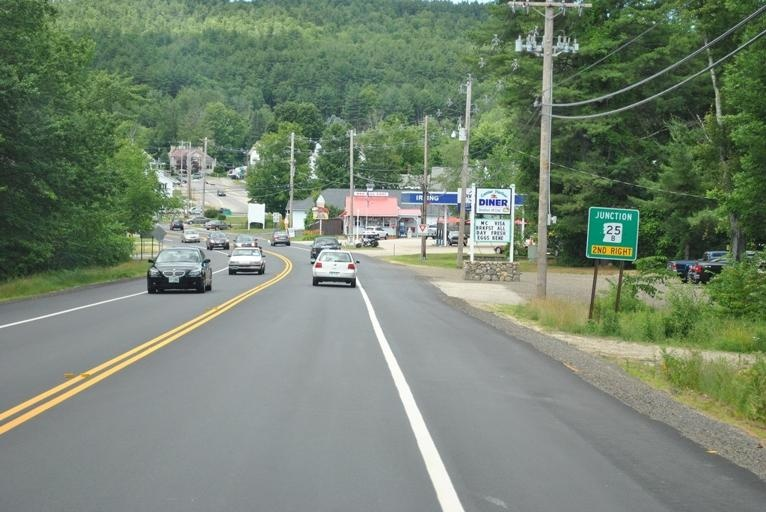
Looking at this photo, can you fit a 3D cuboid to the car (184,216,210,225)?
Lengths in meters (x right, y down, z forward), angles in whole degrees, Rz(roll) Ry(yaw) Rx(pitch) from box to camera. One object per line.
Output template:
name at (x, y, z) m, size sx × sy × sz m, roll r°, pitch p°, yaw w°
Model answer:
car at (-31.552, -6.061, 127.593) m, size 2.842 × 1.547 × 6.458 m, roll 1°, pitch 0°, yaw -44°

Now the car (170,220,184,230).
car at (-31.106, -4.486, 114.992) m, size 0.949 × 1.325 × 2.747 m, roll 8°, pitch 2°, yaw 23°

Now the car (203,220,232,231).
car at (-26.685, -4.868, 121.574) m, size 1.798 × 1.059 × 3.428 m, roll 2°, pitch 7°, yaw 20°

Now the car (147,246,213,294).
car at (-8.354, 0.593, 30.901) m, size 2.472 × 1.889 × 2.578 m, roll 1°, pitch 0°, yaw -18°

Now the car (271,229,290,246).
car at (-11.726, -1.984, 86.129) m, size 1.578 × 1.593 × 2.503 m, roll 1°, pitch 0°, yaw -37°

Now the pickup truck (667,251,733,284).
pickup truck at (15.850, 0.589, 37.641) m, size 2.599 × 1.127 × 1.588 m, roll -4°, pitch 6°, yaw -6°

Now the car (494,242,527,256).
car at (11.494, -0.613, 67.432) m, size 1.364 × 1.129 × 3.085 m, roll -1°, pitch -4°, yaw -4°

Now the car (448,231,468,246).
car at (9.161, -1.942, 95.601) m, size 1.968 × 1.676 × 4.711 m, roll 0°, pitch 7°, yaw -1°

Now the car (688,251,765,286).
car at (13.945, 0.524, 30.717) m, size 2.679 × 0.948 × 1.194 m, roll -10°, pitch 8°, yaw -9°

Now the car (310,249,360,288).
car at (-2.372, 0.675, 37.064) m, size 1.474 × 1.331 × 3.341 m, roll 1°, pitch 9°, yaw -3°

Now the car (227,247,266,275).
car at (-7.924, 0.315, 43.740) m, size 1.966 × 1.537 × 2.767 m, roll 1°, pitch 0°, yaw -13°

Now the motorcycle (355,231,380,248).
motorcycle at (-1.674, -1.970, 89.695) m, size 1.599 × 1.481 × 2.890 m, roll 1°, pitch 6°, yaw 4°

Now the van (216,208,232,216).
van at (-29.746, -8.341, 142.068) m, size 2.002 × 1.733 × 3.224 m, roll 1°, pitch -4°, yaw -16°

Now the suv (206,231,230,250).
suv at (-17.012, -1.590, 77.671) m, size 1.435 × 1.342 × 2.758 m, roll 0°, pitch -4°, yaw -14°
